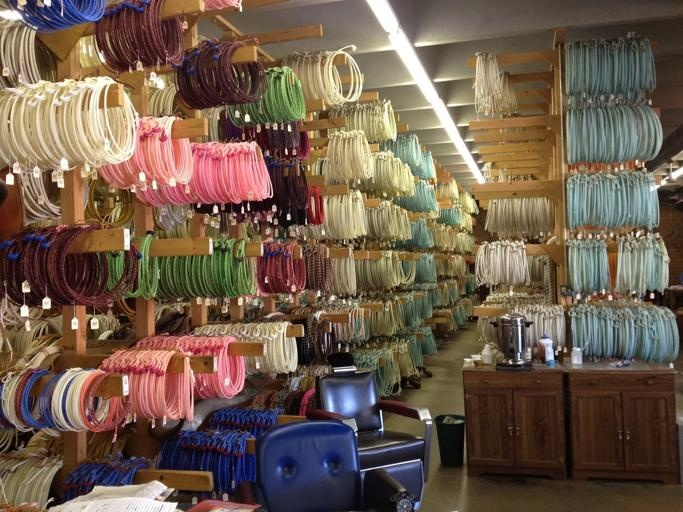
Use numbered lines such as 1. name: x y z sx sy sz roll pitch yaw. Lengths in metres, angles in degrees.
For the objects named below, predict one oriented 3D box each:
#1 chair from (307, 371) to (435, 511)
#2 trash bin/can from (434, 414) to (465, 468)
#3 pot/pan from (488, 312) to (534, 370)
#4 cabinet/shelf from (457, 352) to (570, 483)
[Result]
1. chair: 0.242 1.414 4.654 0.993 1.355 1.063 2 -5 -30
2. trash bin/can: 1.115 1.879 5.673 0.413 0.481 0.399 -1 1 5
3. pot/pan: 1.677 0.822 5.459 0.444 0.524 0.468 -2 2 10
4. cabinet/shelf: 1.682 1.535 5.404 0.937 1.097 0.539 -3 9 11
